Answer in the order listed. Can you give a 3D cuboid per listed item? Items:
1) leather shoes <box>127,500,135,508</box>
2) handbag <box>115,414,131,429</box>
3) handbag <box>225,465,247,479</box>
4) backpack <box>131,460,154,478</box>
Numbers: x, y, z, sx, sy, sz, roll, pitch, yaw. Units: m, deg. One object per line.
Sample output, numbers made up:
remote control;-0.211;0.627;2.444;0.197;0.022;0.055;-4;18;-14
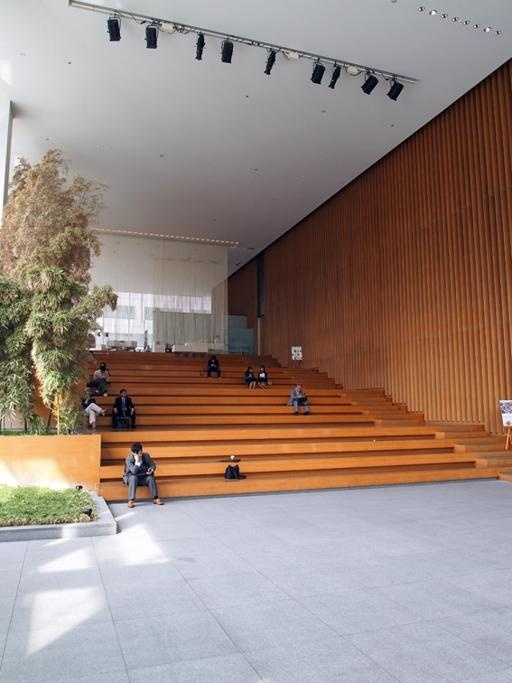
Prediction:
leather shoes;-1.514;1.965;5.803;0.041;0.051;0.126;2;1;-2
handbag;-2.423;1.447;8.605;0.220;0.225;0.224;2;-14;-16
handbag;-0.288;1.910;7.021;0.257;0.189;0.170;0;-5;-10
backpack;-1.415;1.594;6.005;0.186;0.086;0.188;3;-5;-40
